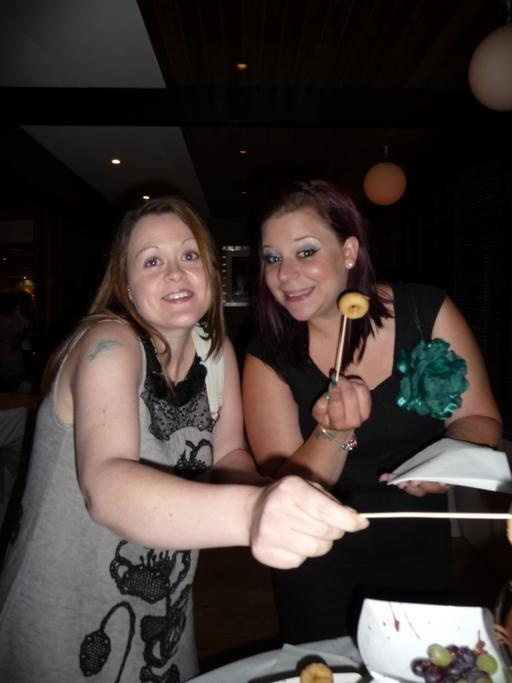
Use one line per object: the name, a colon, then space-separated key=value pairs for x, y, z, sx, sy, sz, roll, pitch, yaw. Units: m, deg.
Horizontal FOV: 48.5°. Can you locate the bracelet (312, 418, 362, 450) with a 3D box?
bracelet: x=0.230 y=0.248 z=1.600 sx=0.100 sy=0.036 sz=0.076 roll=25 pitch=-2 yaw=6

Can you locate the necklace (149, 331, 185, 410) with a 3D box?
necklace: x=-0.231 y=0.085 z=1.385 sx=0.050 sy=0.139 sz=0.110 roll=-10 pitch=0 yaw=44
